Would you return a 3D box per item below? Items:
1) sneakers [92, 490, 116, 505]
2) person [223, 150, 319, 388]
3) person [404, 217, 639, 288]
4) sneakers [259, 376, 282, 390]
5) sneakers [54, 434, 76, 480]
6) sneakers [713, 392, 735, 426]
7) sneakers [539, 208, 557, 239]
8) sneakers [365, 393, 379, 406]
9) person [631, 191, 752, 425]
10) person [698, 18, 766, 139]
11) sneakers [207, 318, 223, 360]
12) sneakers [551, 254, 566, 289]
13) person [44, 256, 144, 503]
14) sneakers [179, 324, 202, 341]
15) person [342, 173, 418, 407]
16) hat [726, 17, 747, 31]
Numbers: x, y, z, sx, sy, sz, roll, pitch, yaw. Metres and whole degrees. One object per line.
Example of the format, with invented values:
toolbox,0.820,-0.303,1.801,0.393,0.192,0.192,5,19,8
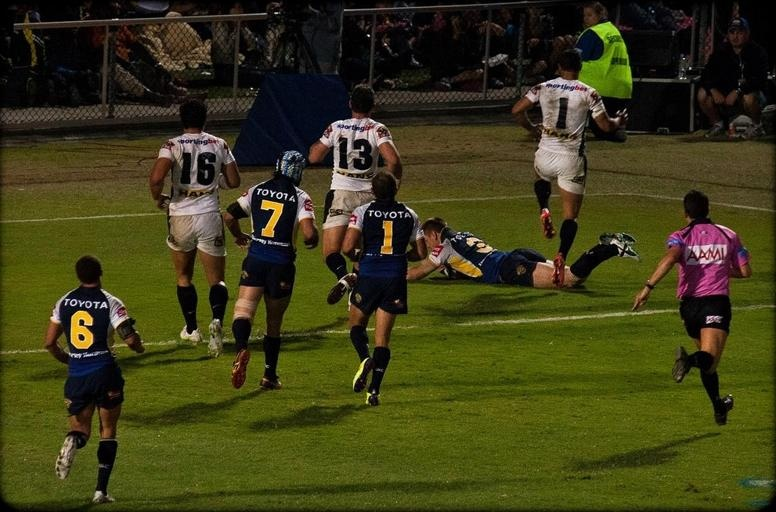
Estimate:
sneakers,-2.341,2.004,8.588,0.232,0.079,0.078,2,16,-30
person,-1.181,0.163,10.548,0.919,2.438,1.209,-1,6,-9
person,1.611,0.029,13.585,3.086,0.631,1.080,4,-1,7
sneakers,-1.187,1.296,10.594,0.099,0.109,0.278,16,15,43
sneakers,-2.650,1.683,8.589,0.162,0.361,0.161,-2,6,-15
sneakers,3.249,1.444,9.909,0.145,0.353,0.180,8,-33,38
sneakers,2.218,-0.399,14.129,0.228,0.478,0.249,-11,9,2
sneakers,-0.156,1.443,10.349,0.111,0.143,0.153,5,44,4
person,3.069,0.495,10.110,0.990,2.209,0.873,0,6,-1
person,7.694,-3.971,23.338,1.432,2.649,0.896,2,7,16
sneakers,-1.813,0.891,11.022,0.178,0.412,0.193,-1,27,-2
sneakers,2.187,0.200,13.427,0.129,0.435,0.259,1,6,13
person,-2.489,1.014,8.832,0.765,2.003,0.825,-2,7,-17
sneakers,-2.254,0.884,11.848,0.126,0.118,0.308,-11,20,-41
person,-0.040,0.333,10.344,0.753,2.324,0.568,0,6,-2
hat,7.763,-5.180,23.146,0.388,0.240,0.518,3,15,9
